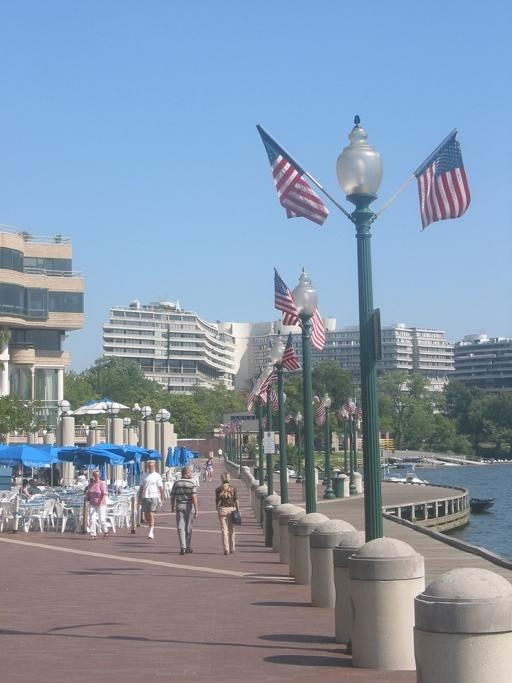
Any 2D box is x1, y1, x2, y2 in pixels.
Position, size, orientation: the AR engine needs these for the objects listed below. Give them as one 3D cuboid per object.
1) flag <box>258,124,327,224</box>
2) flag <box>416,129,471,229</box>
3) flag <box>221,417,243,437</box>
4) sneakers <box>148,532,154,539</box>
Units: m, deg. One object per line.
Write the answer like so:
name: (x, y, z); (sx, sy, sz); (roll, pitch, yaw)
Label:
flag: (0.459, -1.933, 21.029); (0.579, 0.160, 1.632); (-12, -44, 4)
flag: (2.124, -1.795, 19.826); (0.613, 1.335, 0.095); (-20, -43, 18)
flag: (-1.308, 5.085, 101.709); (0.958, 1.347, 3.338); (1, -9, -7)
sneakers: (-1.831, 3.432, 30.520); (0.068, 0.165, 0.168); (1, -35, 3)
